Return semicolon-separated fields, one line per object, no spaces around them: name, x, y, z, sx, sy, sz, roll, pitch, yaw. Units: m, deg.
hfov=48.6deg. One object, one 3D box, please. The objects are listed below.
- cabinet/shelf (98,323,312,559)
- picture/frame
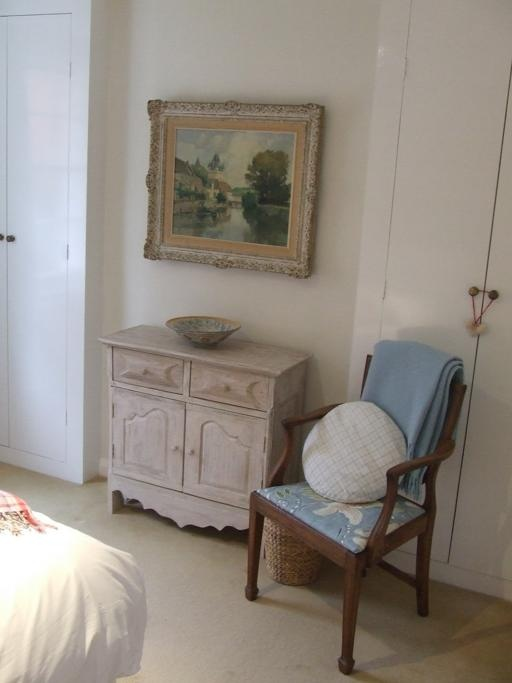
cabinet/shelf;-0.190;0.409;2.319;0.857;0.790;0.363;9;13;25
picture/frame;-0.073;-0.697;2.462;0.810;0.705;0.087;6;12;24
